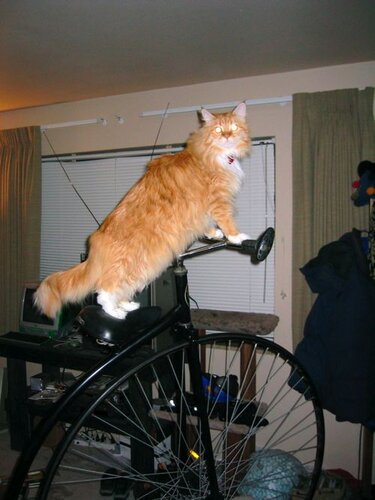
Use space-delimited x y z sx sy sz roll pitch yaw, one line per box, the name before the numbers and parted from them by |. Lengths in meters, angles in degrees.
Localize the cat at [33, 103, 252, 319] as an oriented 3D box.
cat | -0.120 -0.167 1.928 0.871 0.705 0.387 -3 1 -15
